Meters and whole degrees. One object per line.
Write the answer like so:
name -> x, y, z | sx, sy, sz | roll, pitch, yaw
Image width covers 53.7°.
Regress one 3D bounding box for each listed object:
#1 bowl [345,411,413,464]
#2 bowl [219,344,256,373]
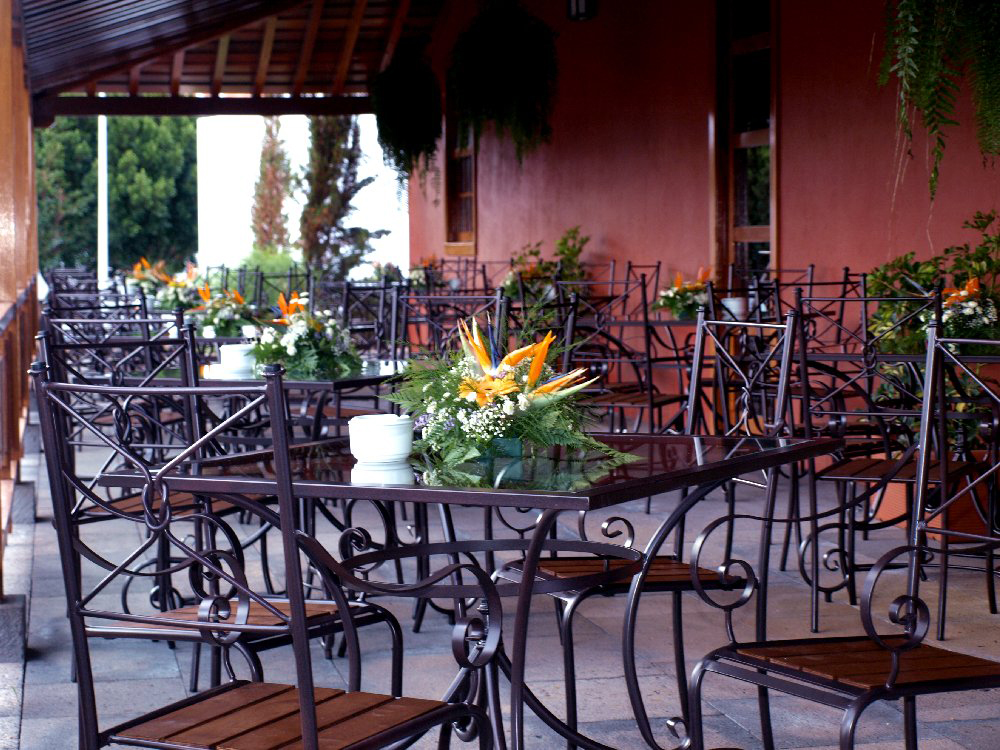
bowl -> -0.259, 0.133, 2.106 | 0.114, 0.073, 0.109 | 1, 1, 0
bowl -> -1.135, -0.068, 4.281 | 0.153, 0.089, 0.147 | 1, -4, 0
